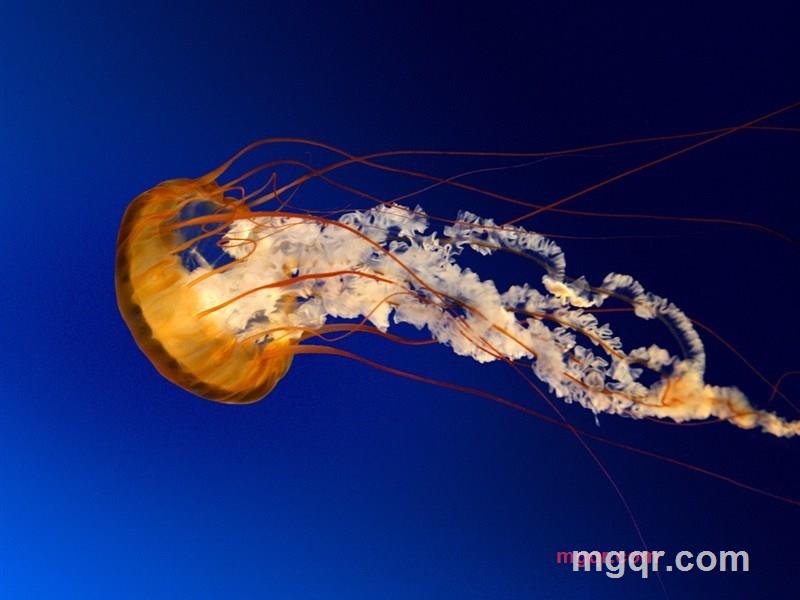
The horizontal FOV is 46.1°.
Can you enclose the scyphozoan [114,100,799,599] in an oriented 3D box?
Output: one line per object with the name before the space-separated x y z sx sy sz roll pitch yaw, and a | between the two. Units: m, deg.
scyphozoan | 0.130 -0.005 3.805 2.519 0.850 1.243 11 -71 3
